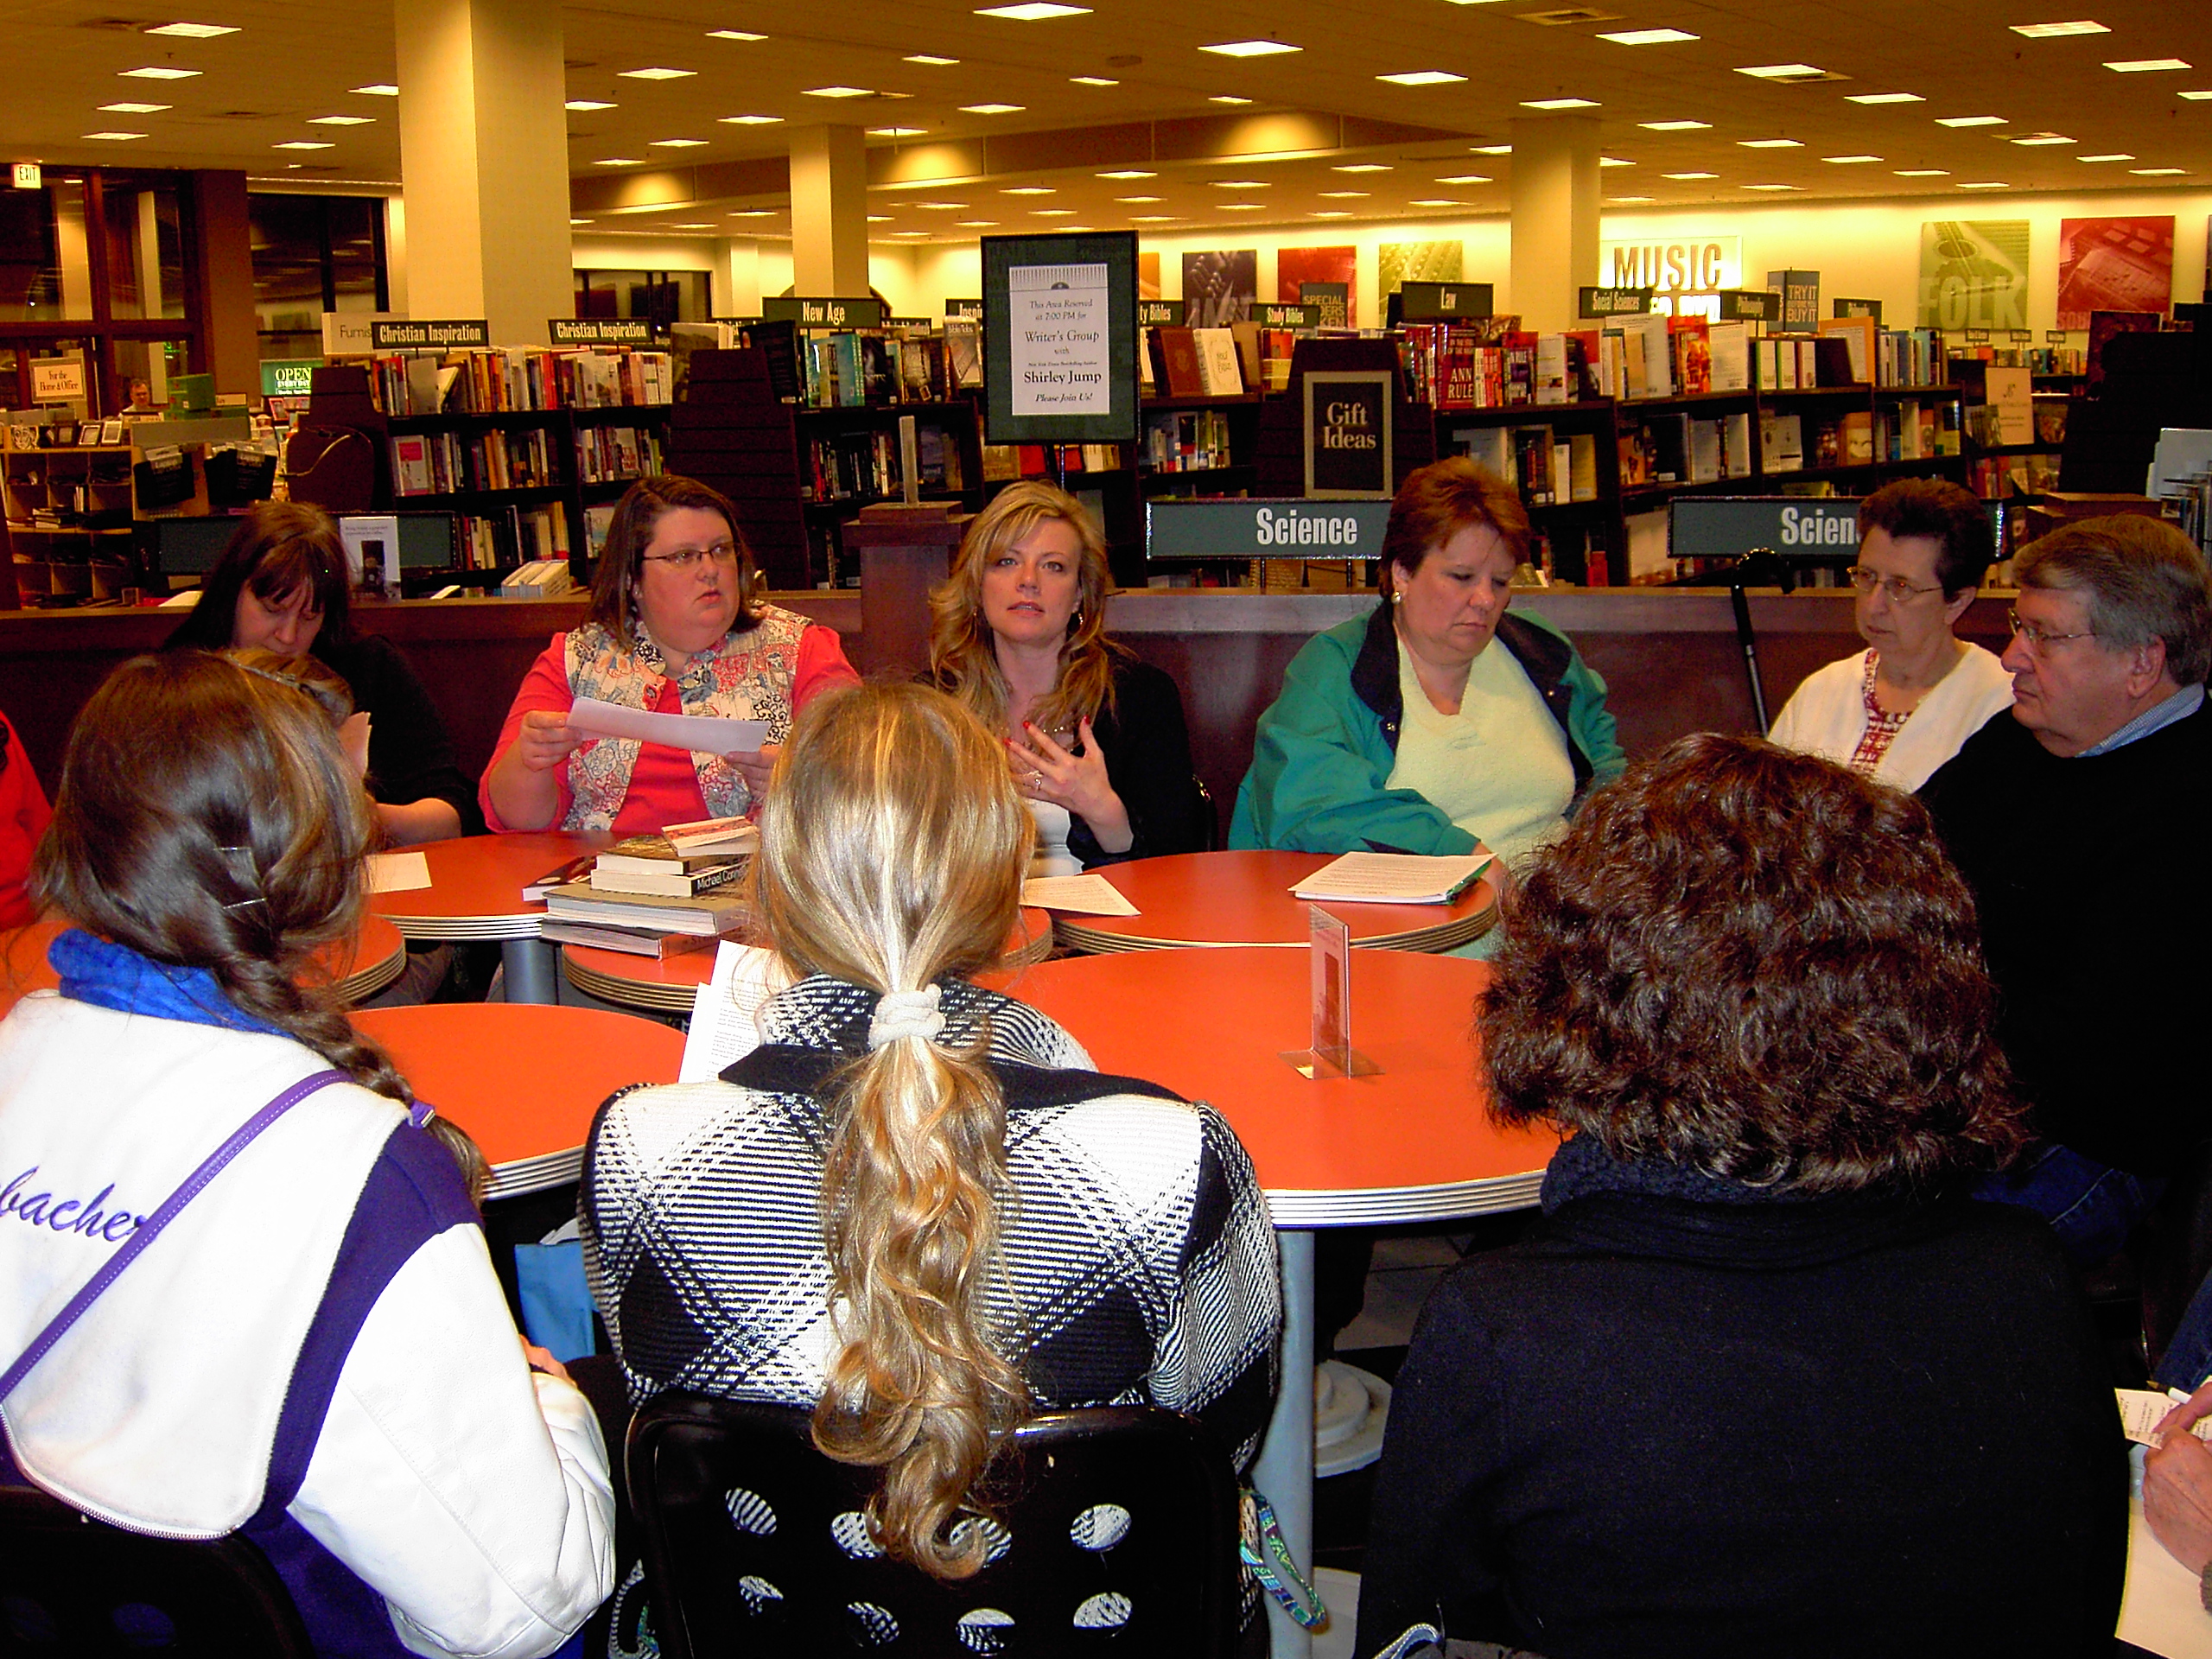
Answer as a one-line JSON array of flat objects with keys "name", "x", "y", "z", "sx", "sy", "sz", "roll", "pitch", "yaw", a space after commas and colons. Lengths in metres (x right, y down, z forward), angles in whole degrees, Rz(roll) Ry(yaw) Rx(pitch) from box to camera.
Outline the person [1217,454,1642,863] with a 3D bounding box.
[{"name": "person", "x": 0.669, "y": -0.381, "z": 3.828, "sx": 0.909, "sy": 0.786, "sz": 0.794, "roll": -7, "pitch": 20, "yaw": -17}]

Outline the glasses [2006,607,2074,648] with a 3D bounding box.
[{"name": "glasses", "x": 1.434, "y": -0.318, "z": 2.718, "sx": 0.066, "sy": 0.095, "sz": 0.084, "roll": -5, "pitch": 10, "yaw": -2}]

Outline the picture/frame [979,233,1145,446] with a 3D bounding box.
[{"name": "picture/frame", "x": -0.129, "y": -1.323, "z": 4.763, "sx": 0.431, "sy": 0.559, "sz": 0.228, "roll": 0, "pitch": 11, "yaw": 6}]

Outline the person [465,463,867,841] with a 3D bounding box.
[{"name": "person", "x": -0.894, "y": -0.339, "z": 3.739, "sx": 0.841, "sy": 0.756, "sz": 0.503, "roll": -2, "pitch": 16, "yaw": 5}]

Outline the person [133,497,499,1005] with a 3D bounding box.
[{"name": "person", "x": -1.663, "y": -0.087, "z": 3.678, "sx": 0.791, "sy": 1.132, "sz": 0.790, "roll": 0, "pitch": 1, "yaw": -3}]

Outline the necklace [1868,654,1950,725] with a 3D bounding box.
[{"name": "necklace", "x": 1.617, "y": -0.284, "z": 3.575, "sx": 0.123, "sy": 0.096, "sz": 0.141, "roll": 1, "pitch": -10, "yaw": -21}]

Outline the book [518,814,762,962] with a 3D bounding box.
[{"name": "book", "x": -0.697, "y": 0.077, "z": 2.876, "sx": 0.344, "sy": 0.117, "sz": 0.319, "roll": 3, "pitch": 11, "yaw": 15}]
